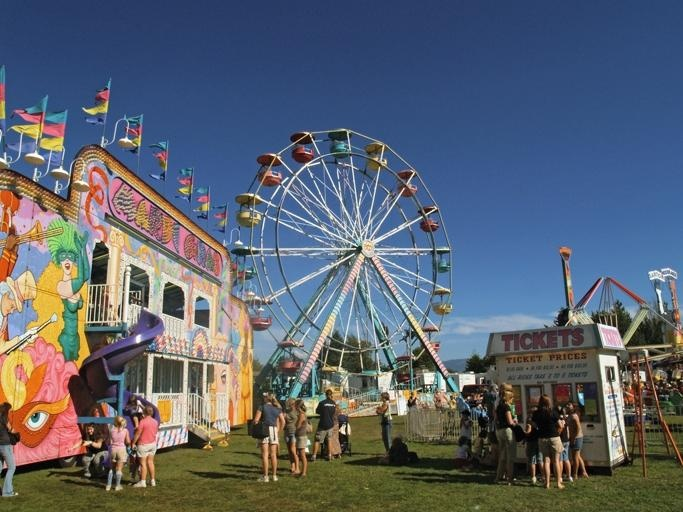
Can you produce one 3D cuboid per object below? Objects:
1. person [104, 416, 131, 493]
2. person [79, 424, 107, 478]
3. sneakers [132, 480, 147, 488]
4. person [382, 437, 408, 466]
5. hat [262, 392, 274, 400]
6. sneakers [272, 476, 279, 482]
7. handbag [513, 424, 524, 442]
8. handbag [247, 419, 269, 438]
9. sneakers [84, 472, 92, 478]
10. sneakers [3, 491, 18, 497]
[{"bbox_3d":[-4.798,4.242,11.690,0.433,1.520,1.368,4,-17,-22],"label":"person"},{"bbox_3d":[-6.072,4.786,13.392,0.529,1.200,2.253,4,-17,-23],"label":"person"},{"bbox_3d":[-4.353,4.964,11.822,0.356,0.146,0.122,4,-10,7],"label":"sneakers"},{"bbox_3d":[1.451,5.295,14.630,0.569,0.692,0.620,17,-25,-11],"label":"person"},{"bbox_3d":[-1.667,3.243,12.495,0.204,0.162,0.468,-1,-15,-6],"label":"hat"},{"bbox_3d":[-1.511,5.084,12.387,0.076,0.132,0.210,-3,-3,17],"label":"sneakers"},{"bbox_3d":[3.862,3.877,11.864,0.159,0.513,0.402,-8,-24,25],"label":"handbag"},{"bbox_3d":[-1.844,3.919,12.188,0.337,0.411,0.387,5,-17,-26],"label":"handbag"},{"bbox_3d":[-6.025,5.199,12.905,0.162,0.142,0.052,-19,-13,-9],"label":"sneakers"},{"bbox_3d":[-6.731,4.872,11.085,0.286,0.121,0.097,6,4,-14],"label":"sneakers"}]
